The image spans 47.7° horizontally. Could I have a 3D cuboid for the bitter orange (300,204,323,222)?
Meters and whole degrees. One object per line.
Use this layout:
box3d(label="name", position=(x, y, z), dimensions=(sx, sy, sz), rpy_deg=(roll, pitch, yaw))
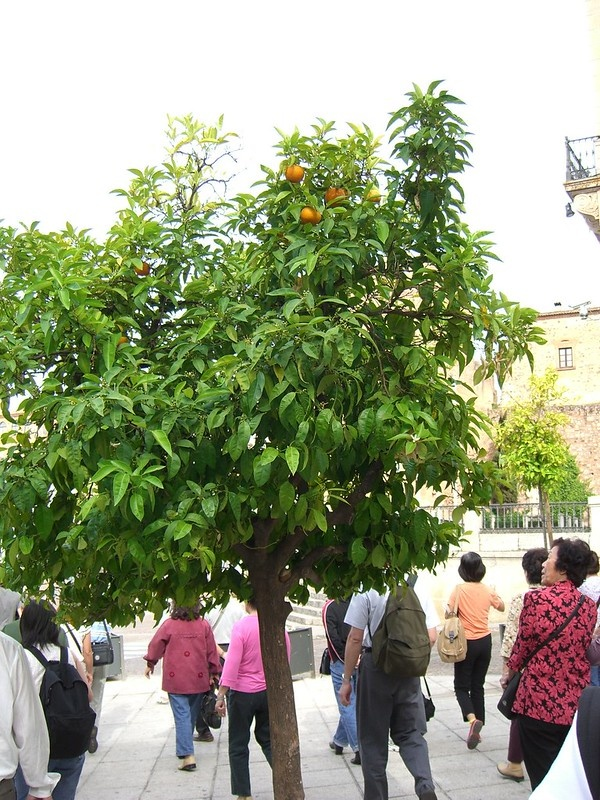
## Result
box3d(label="bitter orange", position=(0.043, -0.797, 2.862), dimensions=(0.071, 0.069, 0.070), rpy_deg=(-11, 33, -15))

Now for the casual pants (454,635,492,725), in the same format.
box3d(label="casual pants", position=(1.547, 2.485, 6.003), dimensions=(0.330, 0.759, 0.471), rpy_deg=(-2, -4, 1))

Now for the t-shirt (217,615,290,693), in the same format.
box3d(label="t-shirt", position=(-0.331, 1.881, 5.020), dimensions=(0.606, 0.516, 0.258), rpy_deg=(16, -29, -35))

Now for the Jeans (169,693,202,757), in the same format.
box3d(label="Jeans", position=(-1.042, 2.940, 6.125), dimensions=(0.268, 0.656, 0.421), rpy_deg=(-2, -4, -3))

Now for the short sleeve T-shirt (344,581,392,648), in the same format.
box3d(label="short sleeve T-shirt", position=(0.463, 1.475, 4.546), dimensions=(0.199, 0.410, 0.409), rpy_deg=(2, -5, -41))

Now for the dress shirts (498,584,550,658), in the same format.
box3d(label="dress shirts", position=(1.699, 1.798, 5.531), dimensions=(0.362, 0.467, 0.277), rpy_deg=(8, -11, 0))

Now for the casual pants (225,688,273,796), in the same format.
box3d(label="casual pants", position=(-0.381, 2.493, 4.931), dimensions=(0.300, 0.860, 0.441), rpy_deg=(-1, -4, -6))

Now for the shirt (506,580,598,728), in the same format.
box3d(label="shirt", position=(1.432, 1.423, 3.884), dimensions=(0.495, 0.809, 0.285), rpy_deg=(-3, -4, 21))

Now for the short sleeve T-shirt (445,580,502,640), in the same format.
box3d(label="short sleeve T-shirt", position=(1.625, 1.957, 6.356), dimensions=(0.553, 0.555, 0.364), rpy_deg=(2, -5, 4))

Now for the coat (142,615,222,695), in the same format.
box3d(label="coat", position=(-1.081, 2.358, 6.278), dimensions=(0.723, 0.631, 0.358), rpy_deg=(3, -15, -18))
